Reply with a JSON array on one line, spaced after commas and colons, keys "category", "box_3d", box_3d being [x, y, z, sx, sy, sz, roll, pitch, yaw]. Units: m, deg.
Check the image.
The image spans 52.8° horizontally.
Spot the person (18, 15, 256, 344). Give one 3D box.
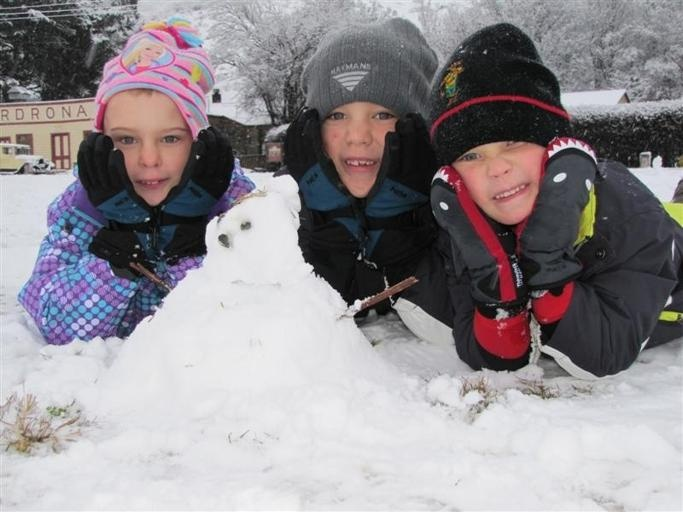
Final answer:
[{"category": "person", "box_3d": [-1.300, -0.381, 4.956, 1.630, 2.104, 0.865, 9, 2, 1]}]

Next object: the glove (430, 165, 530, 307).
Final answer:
[{"category": "glove", "box_3d": [0.754, -0.074, 4.085, 0.473, 0.773, 0.304, -21, -9, -32]}]

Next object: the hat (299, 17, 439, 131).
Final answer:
[{"category": "hat", "box_3d": [0.211, -1.279, 4.637, 0.918, 0.665, 0.459, -3, 13, -2]}]

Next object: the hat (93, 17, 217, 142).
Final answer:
[{"category": "hat", "box_3d": [-1.139, -1.210, 4.762, 0.729, 0.924, 0.869, 1, -5, 4]}]

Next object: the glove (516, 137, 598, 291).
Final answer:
[{"category": "glove", "box_3d": [1.181, -0.235, 3.751, 0.460, 0.773, 0.214, 6, 14, 13]}]
